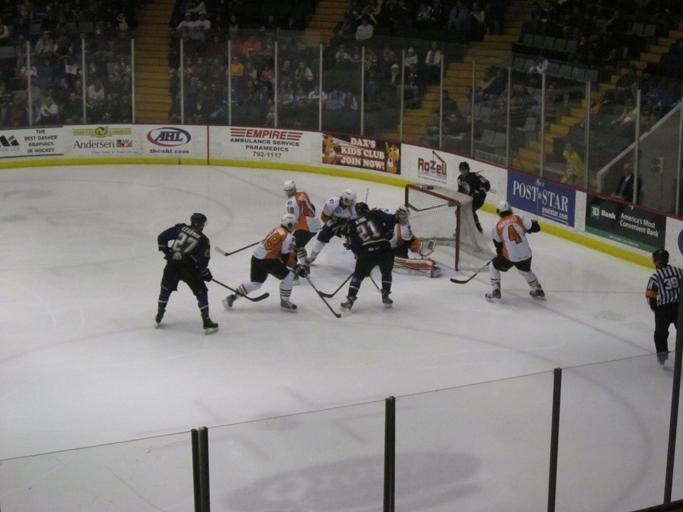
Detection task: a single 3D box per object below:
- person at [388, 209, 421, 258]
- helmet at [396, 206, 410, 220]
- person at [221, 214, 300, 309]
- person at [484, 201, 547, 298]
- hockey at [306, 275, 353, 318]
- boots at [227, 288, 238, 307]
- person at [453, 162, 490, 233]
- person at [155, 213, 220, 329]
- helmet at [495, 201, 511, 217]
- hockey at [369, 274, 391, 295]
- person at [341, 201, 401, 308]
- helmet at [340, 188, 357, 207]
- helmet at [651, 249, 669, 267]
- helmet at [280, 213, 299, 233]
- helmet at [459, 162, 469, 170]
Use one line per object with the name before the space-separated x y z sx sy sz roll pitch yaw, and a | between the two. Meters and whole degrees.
person | 0.937 -0.324 11.491 0.272 0.405 0.805 -4 -18 3
helmet | 0.884 -0.601 11.052 0.184 0.183 0.147 1 37 18
person | -1.210 0.116 11.411 1.211 1.348 0.573 -13 52 -22
person | 2.561 -0.065 11.063 0.843 1.383 0.699 8 15 17
hockey | -0.163 0.549 10.768 0.594 0.178 0.561 -24 60 -32
boots | -1.524 0.567 10.716 0.101 0.266 0.108 46 2 -20
person | 2.408 -1.135 14.097 0.625 1.189 2.462 6 14 10
person | -1.966 0.186 9.907 0.872 1.498 0.555 6 15 9
helmet | 2.316 -0.709 11.126 0.228 0.268 0.277 -6 29 13
hockey | 0.559 0.414 11.210 0.131 0.148 0.383 25 15 3
person | 0.424 -0.001 10.942 0.708 1.348 1.250 4 14 4
helmet | 0.095 -0.892 11.795 0.262 0.256 0.201 0 55 -1
helmet | 3.939 0.010 9.492 0.180 0.220 0.217 -3 32 9
helmet | -0.738 -0.482 10.321 0.250 0.238 0.185 -20 49 -19
helmet | 2.218 -1.640 13.941 0.148 0.188 0.172 -3 2 13
